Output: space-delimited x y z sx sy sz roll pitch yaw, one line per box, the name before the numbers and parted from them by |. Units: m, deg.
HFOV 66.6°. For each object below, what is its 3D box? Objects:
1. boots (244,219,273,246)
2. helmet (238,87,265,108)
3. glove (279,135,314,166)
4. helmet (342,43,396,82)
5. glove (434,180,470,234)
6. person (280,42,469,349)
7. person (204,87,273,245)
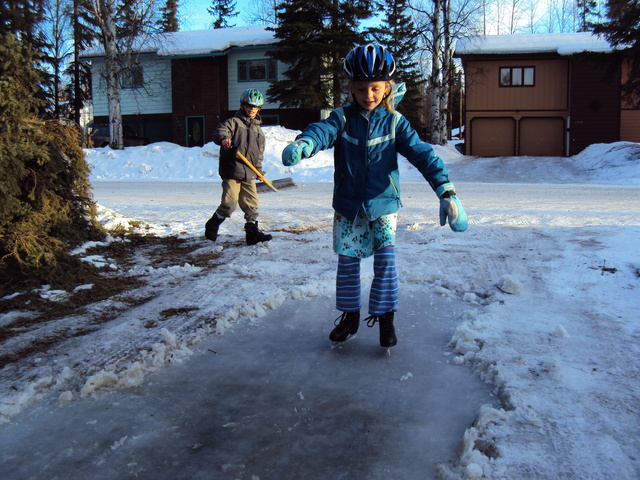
boots | -0.896 -0.093 6.970 0.392 0.409 0.258 -2 5 1
helmet | -0.970 -2.061 6.913 0.295 0.216 0.425 3 8 -13
glove | -0.167 -0.612 3.293 0.148 0.093 0.260 -27 11 20
helmet | 0.346 -1.223 3.379 0.271 0.156 0.405 3 29 6
glove | 0.912 -0.226 3.420 0.253 0.463 0.155 5 -32 0
person | 0.391 -0.268 3.579 1.117 2.219 0.497 1 13 7
person | -1.195 -1.031 6.976 0.868 2.156 0.676 -4 13 -14
